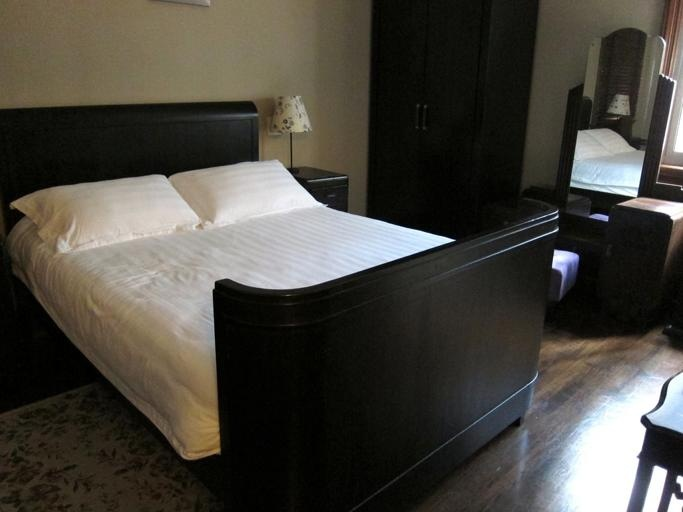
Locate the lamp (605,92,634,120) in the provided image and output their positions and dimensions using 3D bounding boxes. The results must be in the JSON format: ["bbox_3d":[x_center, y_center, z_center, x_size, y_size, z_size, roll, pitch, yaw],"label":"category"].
[{"bbox_3d":[2.087,-1.120,4.150,0.154,0.160,0.157,-2,21,-4],"label":"lamp"}]

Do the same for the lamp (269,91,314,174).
[{"bbox_3d":[-0.400,-0.989,4.516,0.326,0.625,0.340,-5,19,-8],"label":"lamp"}]

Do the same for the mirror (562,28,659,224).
[{"bbox_3d":[2.076,-1.004,4.236,0.510,1.355,0.299,9,24,22],"label":"mirror"}]

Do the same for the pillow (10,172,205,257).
[{"bbox_3d":[-1.314,-0.248,3.220,0.655,0.162,0.610,-17,48,-36],"label":"pillow"}]
